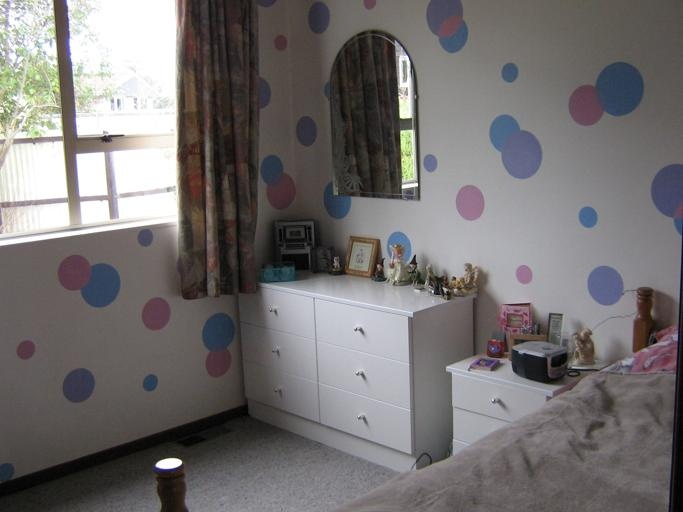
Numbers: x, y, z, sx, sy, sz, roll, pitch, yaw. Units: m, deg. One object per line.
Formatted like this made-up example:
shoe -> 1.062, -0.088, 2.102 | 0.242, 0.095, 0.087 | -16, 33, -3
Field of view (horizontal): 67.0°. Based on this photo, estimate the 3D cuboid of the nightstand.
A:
nightstand -> 0.879, 0.658, 2.490 | 0.396, 0.638, 0.607 | -4, 7, -37

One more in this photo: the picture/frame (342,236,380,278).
picture/frame -> 0.134, 0.008, 3.278 | 0.204, 0.228, 0.021 | 14, 2, 44

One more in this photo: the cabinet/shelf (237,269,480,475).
cabinet/shelf -> 0.017, 0.644, 3.246 | 1.228, 0.968, 0.607 | 6, 13, 35

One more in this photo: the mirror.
mirror -> 0.195, -0.847, 3.118 | 0.603, 0.971, 0.023 | 9, 23, 33

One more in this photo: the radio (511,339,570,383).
radio -> 0.923, 0.490, 2.420 | 0.179, 0.154, 0.234 | -7, 6, -16
